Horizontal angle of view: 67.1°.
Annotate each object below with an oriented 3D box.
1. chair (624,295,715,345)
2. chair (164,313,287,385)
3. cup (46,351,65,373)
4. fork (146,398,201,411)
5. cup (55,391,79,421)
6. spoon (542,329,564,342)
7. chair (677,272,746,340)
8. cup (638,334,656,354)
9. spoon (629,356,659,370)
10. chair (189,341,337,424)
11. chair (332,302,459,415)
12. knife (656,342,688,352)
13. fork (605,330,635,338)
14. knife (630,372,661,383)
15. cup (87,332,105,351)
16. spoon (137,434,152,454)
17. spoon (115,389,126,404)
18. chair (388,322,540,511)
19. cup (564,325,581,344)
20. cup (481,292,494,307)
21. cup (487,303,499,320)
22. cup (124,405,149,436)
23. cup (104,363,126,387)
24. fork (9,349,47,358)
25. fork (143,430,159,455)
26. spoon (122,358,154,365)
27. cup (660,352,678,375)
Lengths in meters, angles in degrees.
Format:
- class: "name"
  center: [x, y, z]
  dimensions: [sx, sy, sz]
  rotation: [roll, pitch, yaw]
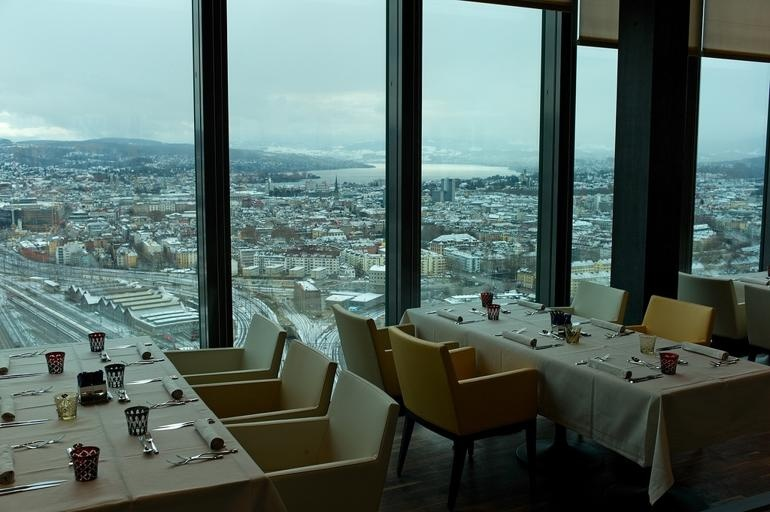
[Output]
- class: "chair"
  center: [2.369, 0.525, 4.800]
  dimensions: [0.430, 0.520, 0.561]
  rotation: [4, 8, -30]
- class: "chair"
  center: [-1.206, 0.707, 4.313]
  dimensions: [0.642, 0.757, 0.540]
  rotation: [2, 11, -31]
- class: "cup"
  center: [-2.109, 0.695, 3.807]
  dimensions: [0.133, 0.138, 0.133]
  rotation: [2, -3, 0]
- class: "fork"
  center: [-1.235, 0.865, 3.397]
  dimensions: [0.287, 0.014, 0.084]
  rotation: [-2, 20, -22]
- class: "cup"
  center: [-1.752, 0.831, 3.223]
  dimensions: [0.153, 0.131, 0.126]
  rotation: [0, 0, 36]
- class: "spoon"
  center: [1.268, 0.602, 4.414]
  dimensions: [0.090, 0.026, 0.088]
  rotation: [-17, 27, -42]
- class: "chair"
  center: [2.951, 0.471, 5.299]
  dimensions: [0.545, 0.610, 0.538]
  rotation: [-7, 12, -23]
- class: "cup"
  center: [1.811, 0.610, 4.030]
  dimensions: [0.121, 0.128, 0.114]
  rotation: [1, 2, 0]
- class: "spoon"
  center: [1.705, 0.714, 3.887]
  dimensions: [0.196, 0.039, 0.058]
  rotation: [13, 30, 42]
- class: "chair"
  center: [-0.804, 0.873, 3.796]
  dimensions: [0.689, 0.810, 0.582]
  rotation: [1, 12, -31]
- class: "chair"
  center: [0.100, 0.685, 4.865]
  dimensions: [0.942, 1.064, 0.765]
  rotation: [-4, 13, -19]
- class: "knife"
  center: [2.028, 0.649, 4.140]
  dimensions: [0.284, 0.032, 0.014]
  rotation: [-6, -18, -19]
- class: "fork"
  center: [1.771, 0.599, 4.425]
  dimensions: [0.229, 0.071, 0.011]
  rotation: [-3, 30, 10]
- class: "knife"
  center: [1.631, 0.765, 3.667]
  dimensions: [0.249, 0.028, 0.066]
  rotation: [-6, 8, -17]
- class: "cup"
  center: [-2.064, 0.606, 4.165]
  dimensions: [0.143, 0.128, 0.126]
  rotation: [2, 4, 8]
- class: "spoon"
  center: [-1.238, 0.976, 3.013]
  dimensions: [0.044, 0.020, 0.141]
  rotation: [0, 13, -22]
- class: "spoon"
  center: [-1.575, 0.829, 3.469]
  dimensions: [0.048, 0.040, 0.154]
  rotation: [1, 11, -18]
- class: "chair"
  center: [0.553, 1.019, 4.683]
  dimensions: [1.248, 1.529, 1.112]
  rotation: [-7, 10, -28]
- class: "cup"
  center: [1.375, 0.584, 4.315]
  dimensions: [0.130, 0.117, 0.119]
  rotation: [-1, 4, 14]
- class: "cup"
  center: [0.911, 0.385, 5.190]
  dimensions: [0.115, 0.097, 0.119]
  rotation: [1, 0, 0]
- class: "cup"
  center: [0.894, 0.478, 4.849]
  dimensions: [0.115, 0.114, 0.112]
  rotation: [1, -1, 0]
- class: "cup"
  center: [-1.311, 0.884, 3.153]
  dimensions: [0.153, 0.120, 0.141]
  rotation: [1, 7, 0]
- class: "cup"
  center: [-1.654, 0.740, 3.646]
  dimensions: [0.144, 0.137, 0.135]
  rotation: [1, 5, 0]
- class: "fork"
  center: [-2.478, 0.681, 4.050]
  dimensions: [0.192, 0.033, 0.033]
  rotation: [3, 33, -4]
- class: "fork"
  center: [-1.215, 0.977, 3.020]
  dimensions: [0.052, 0.019, 0.167]
  rotation: [3, 10, -24]
- class: "spoon"
  center: [-1.674, 0.717, 3.943]
  dimensions: [0.151, 0.022, 0.025]
  rotation: [-7, 43, -21]
- class: "cup"
  center: [1.807, 0.686, 3.731]
  dimensions: [0.131, 0.129, 0.125]
  rotation: [1, 3, 0]
